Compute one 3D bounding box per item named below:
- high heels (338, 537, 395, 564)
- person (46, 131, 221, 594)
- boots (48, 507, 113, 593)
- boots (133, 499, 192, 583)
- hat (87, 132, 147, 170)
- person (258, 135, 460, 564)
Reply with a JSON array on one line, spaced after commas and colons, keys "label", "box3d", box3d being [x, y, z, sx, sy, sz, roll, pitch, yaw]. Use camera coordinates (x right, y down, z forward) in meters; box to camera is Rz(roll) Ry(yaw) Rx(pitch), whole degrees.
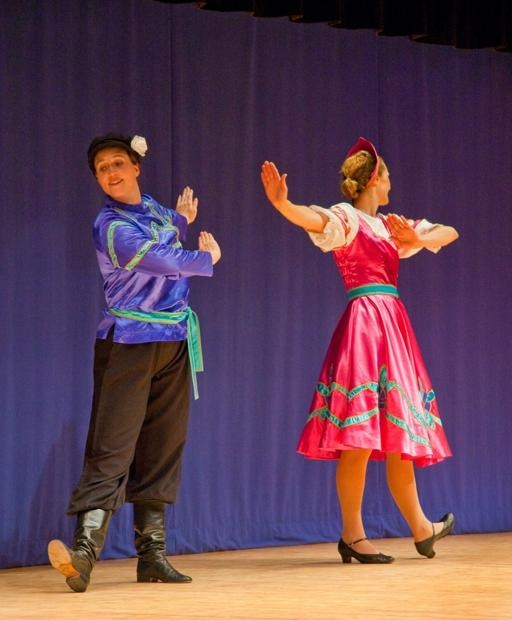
[{"label": "high heels", "box3d": [0.341, 0.798, 2.786, 0.210, 0.089, 0.071, -9, -11, 31]}, {"label": "person", "box3d": [-0.361, 0.131, 2.381, 0.487, 1.077, 0.469, 3, -1, -27]}, {"label": "boots", "box3d": [-0.460, 0.645, 2.191, 0.139, 0.194, 0.262, 3, -1, -6]}, {"label": "boots", "box3d": [-0.262, 0.660, 2.371, 0.167, 0.187, 0.085, 3, -1, -4]}, {"label": "hat", "box3d": [-0.419, -0.467, 2.485, 0.114, 0.072, 0.139, -7, -37, -20]}, {"label": "person", "box3d": [0.382, 0.127, 2.725, 0.447, 0.996, 0.756, 2, -1, 29]}]
